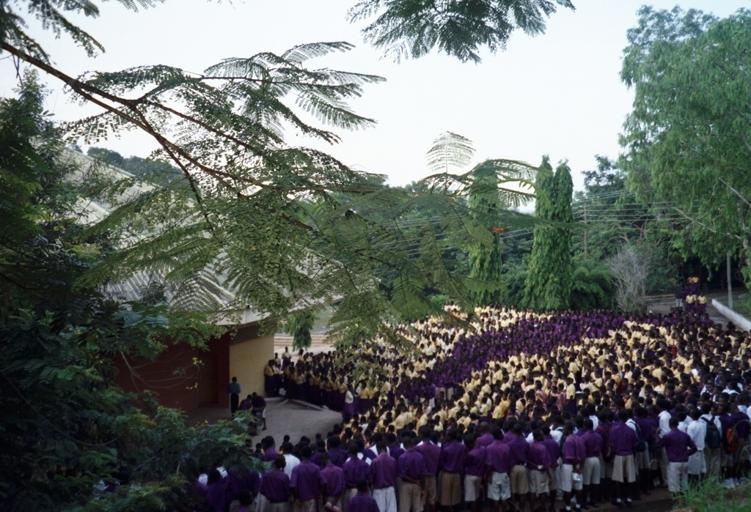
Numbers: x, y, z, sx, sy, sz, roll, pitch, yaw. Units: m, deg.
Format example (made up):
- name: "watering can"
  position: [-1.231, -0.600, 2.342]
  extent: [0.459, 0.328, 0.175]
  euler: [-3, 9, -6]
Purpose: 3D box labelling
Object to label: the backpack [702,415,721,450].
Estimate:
- name: "backpack"
  position: [6.268, 3.304, 11.308]
  extent: [0.241, 0.575, 0.608]
  euler: [-9, -22, 34]
